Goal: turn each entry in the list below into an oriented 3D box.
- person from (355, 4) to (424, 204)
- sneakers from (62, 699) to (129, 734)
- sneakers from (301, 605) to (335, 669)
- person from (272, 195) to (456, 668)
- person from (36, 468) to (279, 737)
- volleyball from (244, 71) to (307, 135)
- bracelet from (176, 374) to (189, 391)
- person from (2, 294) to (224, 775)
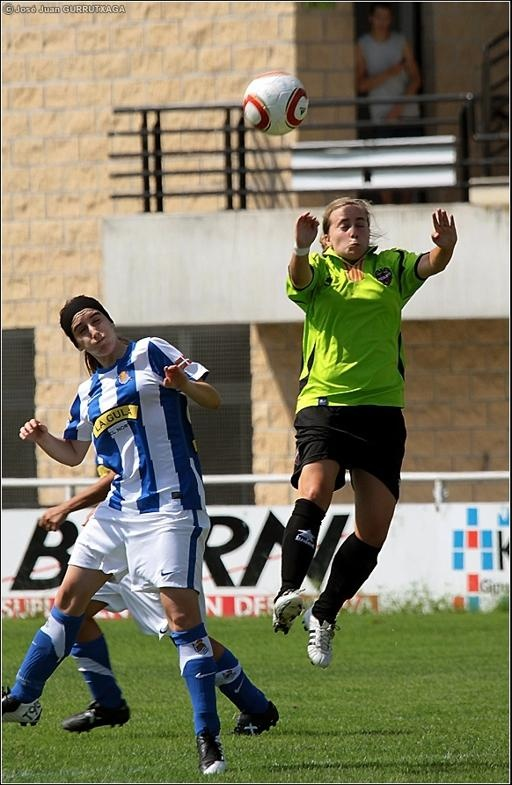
[{"bbox_3d":[1.093,-2.381,14.029,0.472,1.612,0.774,-1,8,-5],"label":"person"},{"bbox_3d":[-0.825,1.713,9.050,0.384,0.240,0.149,0,-5,-6],"label":"sneakers"},{"bbox_3d":[0.349,1.297,9.072,0.124,0.184,0.391,24,27,-15],"label":"sneakers"},{"bbox_3d":[0.538,-0.024,9.001,0.699,2.942,0.853,1,11,7],"label":"person"},{"bbox_3d":[-0.544,1.151,9.378,0.965,1.614,1.533,-1,10,19],"label":"person"},{"bbox_3d":[0.112,-1.636,9.703,0.270,0.398,0.279,-2,9,-5],"label":"volleyball"},{"bbox_3d":[-0.368,-0.049,8.624,0.041,0.085,0.038,-15,38,15],"label":"bracelet"},{"bbox_3d":[-0.663,0.675,8.858,0.787,2.470,1.082,-1,-1,31],"label":"person"}]
